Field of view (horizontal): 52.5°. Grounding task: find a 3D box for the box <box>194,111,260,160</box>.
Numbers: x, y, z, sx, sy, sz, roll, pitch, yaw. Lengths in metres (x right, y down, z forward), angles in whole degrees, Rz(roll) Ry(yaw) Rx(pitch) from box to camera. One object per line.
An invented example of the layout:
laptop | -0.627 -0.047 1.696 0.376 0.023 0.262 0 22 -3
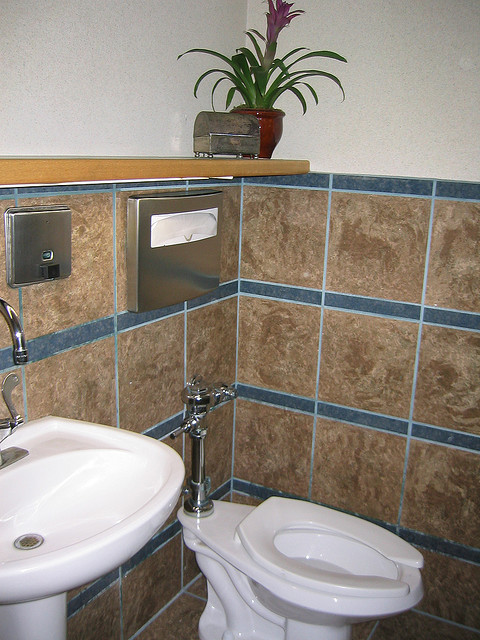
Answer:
box | -0.025 -0.444 1.167 0.163 0.113 0.102 3 12 -10

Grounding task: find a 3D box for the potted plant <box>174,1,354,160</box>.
potted plant | 0.086 -0.685 1.326 0.385 0.503 0.391 10 13 24
